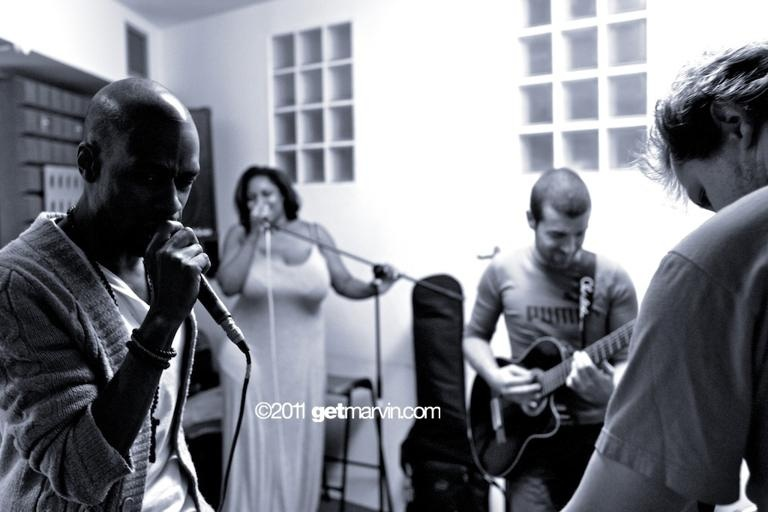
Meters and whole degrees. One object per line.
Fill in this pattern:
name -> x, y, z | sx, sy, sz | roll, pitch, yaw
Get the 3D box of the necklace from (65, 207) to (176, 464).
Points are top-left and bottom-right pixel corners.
necklace -> -0.649, 0.205, 2.375 | 0.406, 0.624, 0.175 | -3, -2, 18

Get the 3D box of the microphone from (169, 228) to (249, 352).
microphone -> -0.573, 0.098, 2.932 | 0.068, 0.538, 0.063 | -28, 5, 42
